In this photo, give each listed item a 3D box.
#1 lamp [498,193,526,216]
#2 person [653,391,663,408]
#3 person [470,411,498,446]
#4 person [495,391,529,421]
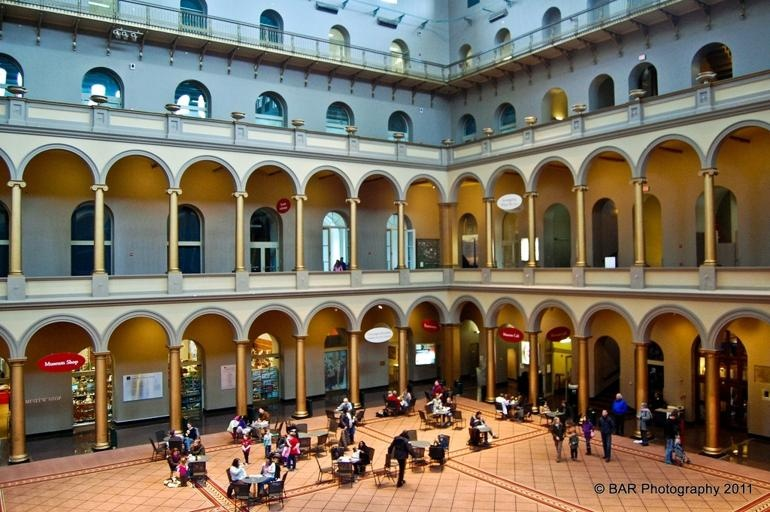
[{"bbox_3d":[6.453,-2.748,32.819,1.275,0.821,0.871,4,12,22],"label":"lamp"},{"bbox_3d":[14.298,7.456,33.368,0.416,0.798,0.584,-2,11,-5],"label":"person"},{"bbox_3d":[4.405,8.046,29.875,0.835,1.406,1.057,3,6,-32],"label":"person"},{"bbox_3d":[6.902,7.834,33.381,1.353,0.816,1.230,0,1,-27],"label":"person"}]
